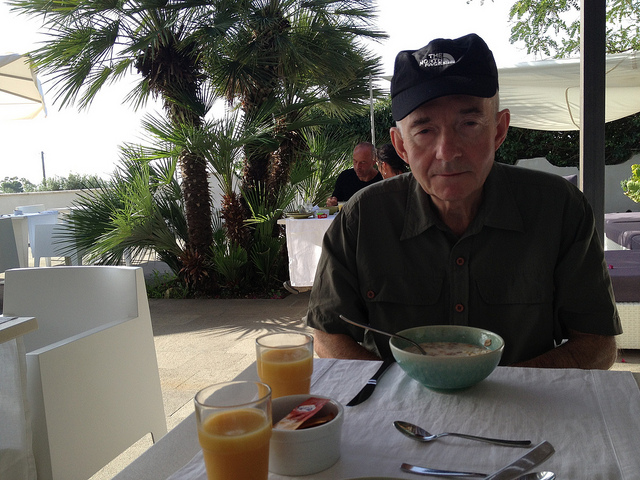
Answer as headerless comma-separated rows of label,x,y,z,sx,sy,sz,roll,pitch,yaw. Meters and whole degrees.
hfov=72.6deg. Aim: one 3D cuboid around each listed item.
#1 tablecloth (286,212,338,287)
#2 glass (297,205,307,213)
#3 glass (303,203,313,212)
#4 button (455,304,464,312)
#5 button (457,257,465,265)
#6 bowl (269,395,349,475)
tablecloth,-0.140,0.163,5.061,0.623,0.830,0.155,2,8,33
glass,-0.221,-0.387,5.390,0.101,0.106,0.075,1,5,4
glass,-0.136,-0.410,5.430,0.083,0.084,0.073,2,-2,-24
button,0.427,0.210,1.340,0.022,0.023,0.006,0,7,17
button,0.437,0.067,1.352,0.021,0.023,0.005,-1,-2,13
bowl,-0.027,0.303,0.752,0.122,0.078,0.130,-2,0,0
